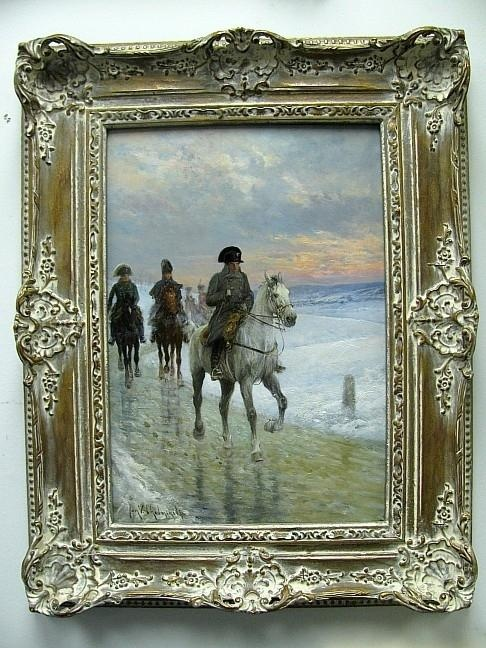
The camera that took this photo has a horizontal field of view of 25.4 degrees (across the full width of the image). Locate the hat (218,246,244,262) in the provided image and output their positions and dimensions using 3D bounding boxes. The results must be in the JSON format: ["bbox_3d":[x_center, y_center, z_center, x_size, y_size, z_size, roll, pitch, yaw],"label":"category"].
[{"bbox_3d":[-0.052,-0.288,4.614,0.099,0.048,0.063,2,6,17],"label":"hat"}]
